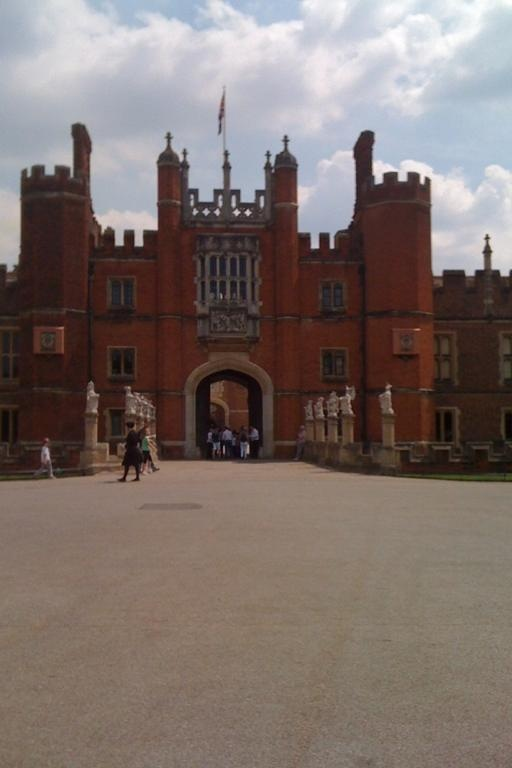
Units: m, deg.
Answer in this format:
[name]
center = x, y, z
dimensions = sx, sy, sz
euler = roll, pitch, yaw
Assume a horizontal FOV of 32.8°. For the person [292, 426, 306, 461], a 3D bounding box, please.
[person]
center = 1.654, 2.276, 33.334
dimensions = 0.425, 1.237, 1.331
euler = 0, -2, 2
